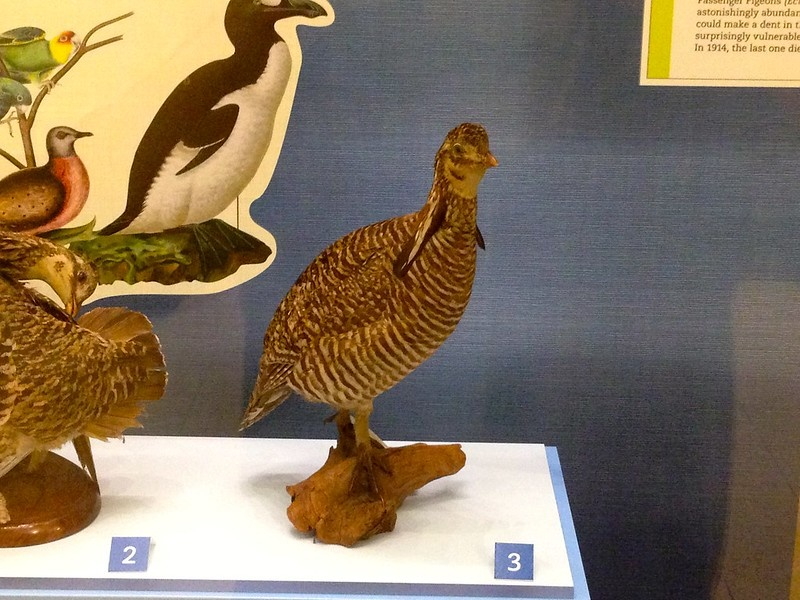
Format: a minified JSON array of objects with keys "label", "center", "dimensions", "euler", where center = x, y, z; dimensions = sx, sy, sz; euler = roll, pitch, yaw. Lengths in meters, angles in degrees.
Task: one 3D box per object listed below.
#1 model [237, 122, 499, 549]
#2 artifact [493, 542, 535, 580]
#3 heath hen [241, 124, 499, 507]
[{"label":"model","center":[-0.073,0.053,1.804],"dimensions":[0.456,0.621,0.324],"euler":[3,12,24]},{"label":"artifact","center":[0.178,0.403,1.680],"dimensions":[0.062,0.044,0.041],"euler":[6,26,0]},{"label":"heath hen","center":[-0.067,0.005,1.737],"dimensions":[0.373,0.590,0.171],"euler":[7,27,3]}]
